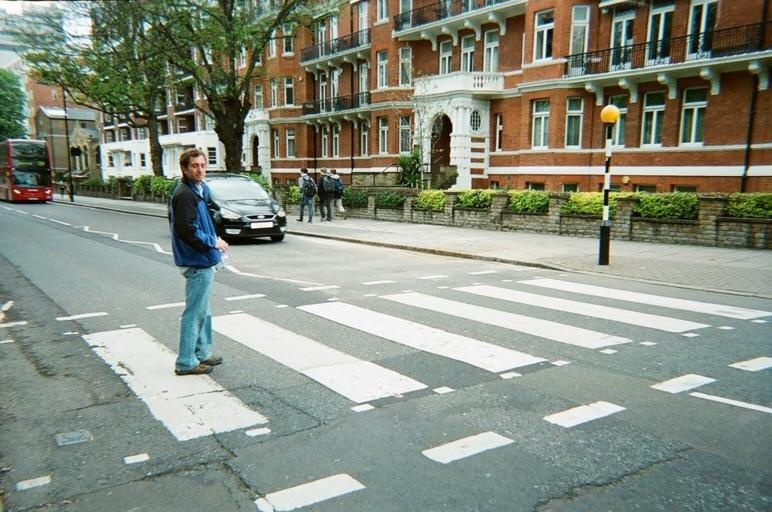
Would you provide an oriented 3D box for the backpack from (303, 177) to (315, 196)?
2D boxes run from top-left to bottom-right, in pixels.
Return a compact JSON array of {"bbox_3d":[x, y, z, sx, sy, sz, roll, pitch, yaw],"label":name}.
[{"bbox_3d":[-3.040,-2.734,25.483,0.349,0.792,0.561,3,12,19],"label":"backpack"}]

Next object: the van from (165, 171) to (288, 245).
[{"bbox_3d":[-4.883,-1.525,19.875,1.900,1.395,3.399,-6,9,-39],"label":"van"}]

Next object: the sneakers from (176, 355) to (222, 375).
[{"bbox_3d":[-2.409,1.450,8.338,0.578,0.216,0.188,-12,23,-31],"label":"sneakers"}]
